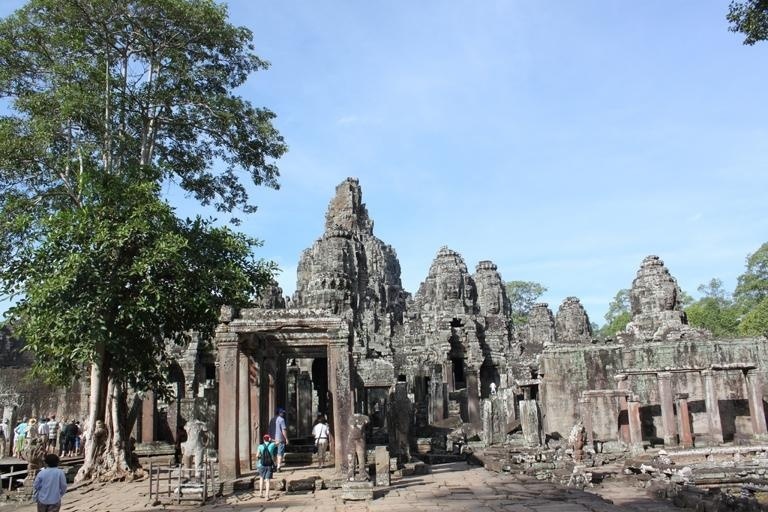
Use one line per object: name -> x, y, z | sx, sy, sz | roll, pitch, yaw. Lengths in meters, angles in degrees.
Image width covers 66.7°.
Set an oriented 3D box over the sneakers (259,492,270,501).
sneakers -> -3.294, 6.651, 16.056 | 0.111, 0.224, 0.341 | -7, -48, 6
